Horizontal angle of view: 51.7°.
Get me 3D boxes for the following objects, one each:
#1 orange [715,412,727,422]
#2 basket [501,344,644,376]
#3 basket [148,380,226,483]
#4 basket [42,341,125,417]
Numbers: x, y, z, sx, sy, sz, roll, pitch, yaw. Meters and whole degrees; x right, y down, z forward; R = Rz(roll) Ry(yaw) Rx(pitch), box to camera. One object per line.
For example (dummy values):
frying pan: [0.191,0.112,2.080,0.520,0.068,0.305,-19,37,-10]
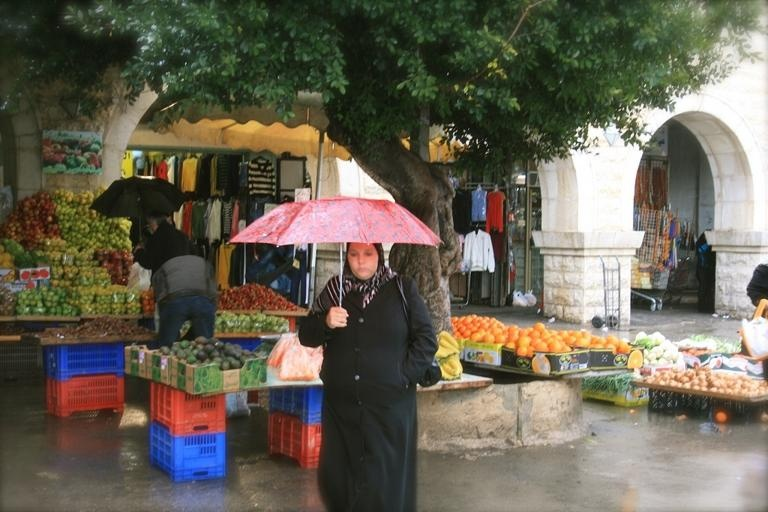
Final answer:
orange: [4.632,2.202,10.865,0.111,0.121,0.137,4,32,10]
basket: [2.428,1.300,10.039,1.869,0.302,0.485,0,0,-17]
basket: [-2.270,1.965,9.099,0.671,1.103,1.103,3,0,-26]
basket: [-4.046,1.597,11.128,1.306,1.366,0.892,-1,4,-22]
